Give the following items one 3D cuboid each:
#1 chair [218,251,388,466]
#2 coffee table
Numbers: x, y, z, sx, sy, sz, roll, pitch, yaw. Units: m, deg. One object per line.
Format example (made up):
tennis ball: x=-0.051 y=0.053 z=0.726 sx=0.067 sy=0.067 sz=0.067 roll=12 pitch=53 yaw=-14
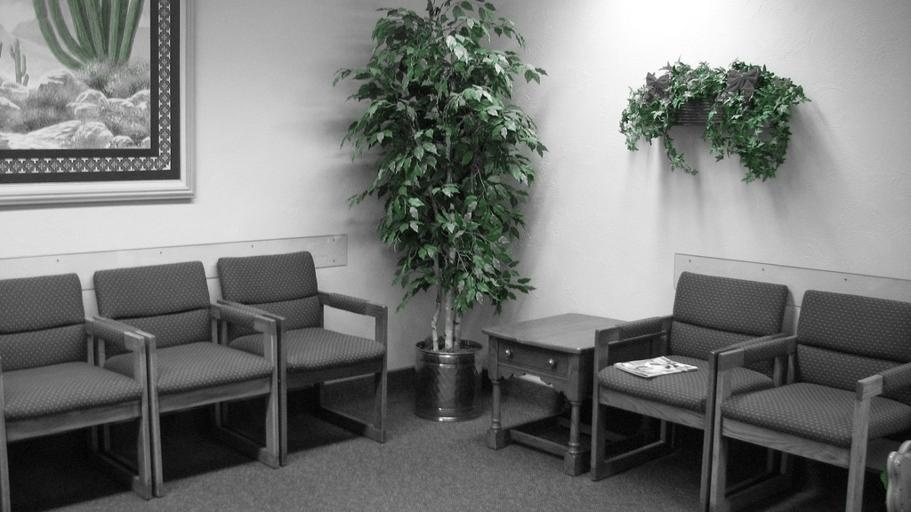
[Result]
chair: x=-1.320 y=0.689 z=5.201 sx=1.438 sy=1.842 sz=1.653 roll=-5 pitch=7 yaw=-38
coffee table: x=0.655 y=1.076 z=4.794 sx=1.210 sy=0.982 sz=1.117 roll=-3 pitch=5 yaw=-43
